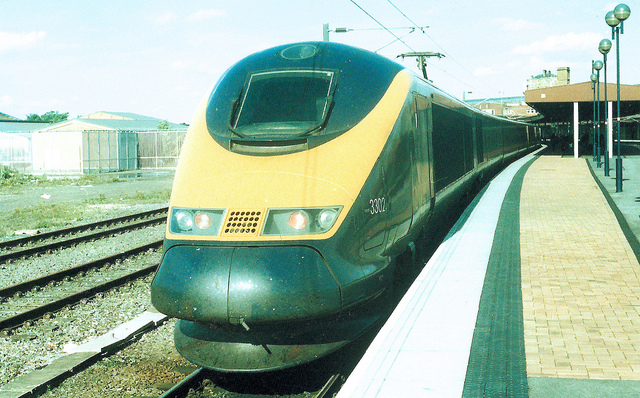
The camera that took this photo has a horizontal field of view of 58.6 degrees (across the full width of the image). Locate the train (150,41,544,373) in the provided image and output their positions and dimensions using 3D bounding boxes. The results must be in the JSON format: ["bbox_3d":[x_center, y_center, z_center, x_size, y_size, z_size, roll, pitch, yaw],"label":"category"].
[{"bbox_3d":[2.315,-1.193,16.467,3.343,4.455,21.686,2,7,19],"label":"train"}]

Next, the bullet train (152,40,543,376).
[{"bbox_3d":[1.242,-0.763,13.231,2.225,3.876,13.835,-3,7,24],"label":"bullet train"}]
